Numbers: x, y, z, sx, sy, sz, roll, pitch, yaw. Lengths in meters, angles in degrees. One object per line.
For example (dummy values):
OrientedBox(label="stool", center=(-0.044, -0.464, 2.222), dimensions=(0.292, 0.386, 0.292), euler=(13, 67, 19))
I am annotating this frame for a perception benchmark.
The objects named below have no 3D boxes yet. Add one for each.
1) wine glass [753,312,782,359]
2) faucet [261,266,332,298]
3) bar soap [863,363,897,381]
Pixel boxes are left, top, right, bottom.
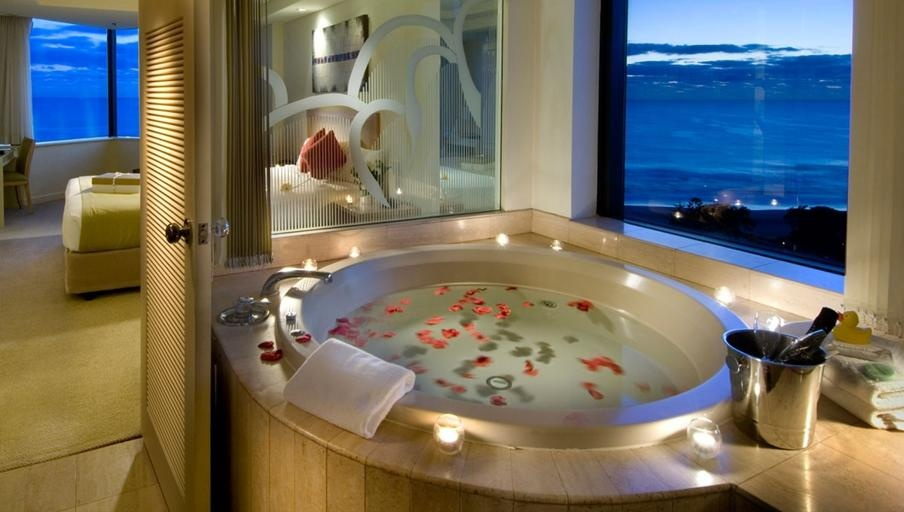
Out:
OrientedBox(label="wine glass", center=(1.524, 0.379, 2.696), dimensions=(0.124, 0.222, 0.070), euler=(-7, -7, 1))
OrientedBox(label="faucet", center=(-0.955, 0.176, 3.615), dimensions=(0.537, 0.180, 0.174), euler=(2, 5, -27))
OrientedBox(label="bar soap", center=(2.030, 0.546, 2.618), dimensions=(0.091, 0.021, 0.091), euler=(-7, 14, 1))
